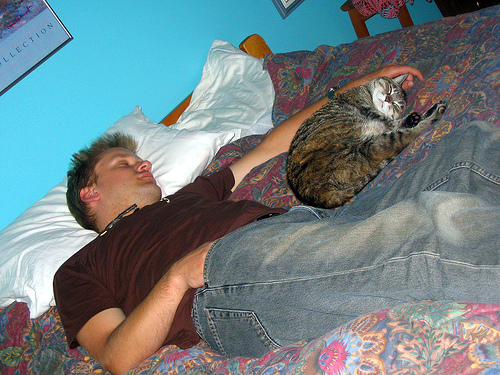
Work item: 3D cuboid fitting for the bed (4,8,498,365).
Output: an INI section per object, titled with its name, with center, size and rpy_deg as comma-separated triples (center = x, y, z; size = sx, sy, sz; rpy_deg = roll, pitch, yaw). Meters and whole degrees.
[bed]
center = 0.362, 0.230, 2.665
size = 2.149, 0.517, 2.096
rpy_deg = 0, 40, 33

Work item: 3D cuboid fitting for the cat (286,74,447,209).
[cat]
center = 0.504, -0.219, 1.762
size = 0.719, 0.165, 0.436
rpy_deg = -40, 46, -7

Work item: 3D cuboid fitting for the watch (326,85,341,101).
[watch]
center = 0.405, -0.462, 2.027
size = 0.079, 0.089, 0.032
rpy_deg = -7, 17, -35
